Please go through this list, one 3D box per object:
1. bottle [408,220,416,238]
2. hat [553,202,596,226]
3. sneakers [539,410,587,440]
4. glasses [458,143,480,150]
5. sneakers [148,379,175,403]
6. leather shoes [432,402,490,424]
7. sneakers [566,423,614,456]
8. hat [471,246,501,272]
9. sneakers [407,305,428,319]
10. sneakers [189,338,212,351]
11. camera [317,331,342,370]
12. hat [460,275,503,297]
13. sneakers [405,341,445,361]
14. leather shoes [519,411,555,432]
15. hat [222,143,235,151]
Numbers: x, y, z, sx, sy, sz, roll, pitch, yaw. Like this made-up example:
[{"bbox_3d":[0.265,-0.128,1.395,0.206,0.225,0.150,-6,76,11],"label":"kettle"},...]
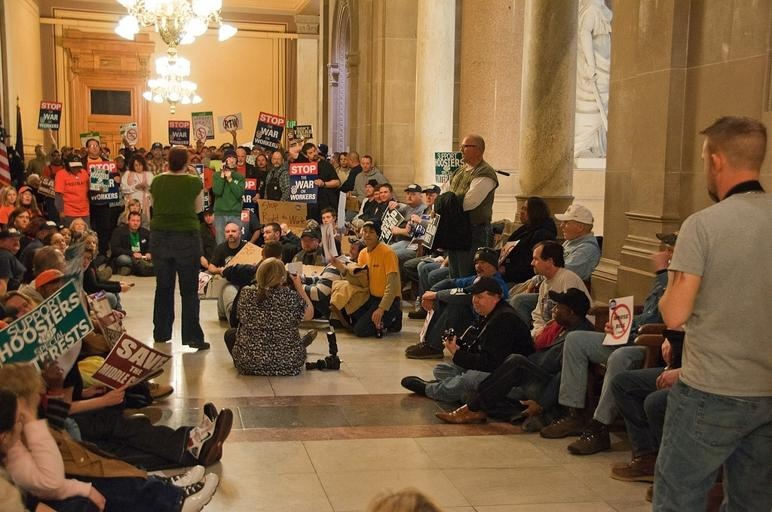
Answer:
[{"bbox_3d":[0.445,-0.469,10.979,0.182,0.216,0.156,-2,3,2],"label":"bottle"},{"bbox_3d":[2.221,-0.495,7.523,0.392,0.215,0.258,3,4,6],"label":"hat"},{"bbox_3d":[1.523,1.502,5.752,0.494,0.239,0.186,-3,2,-3],"label":"sneakers"},{"bbox_3d":[1.053,-1.432,8.339,0.139,0.077,0.337,-3,9,-24],"label":"glasses"},{"bbox_3d":[-2.188,1.366,6.481,0.372,0.165,0.129,-2,0,-11],"label":"sneakers"},{"bbox_3d":[0.713,1.501,6.088,0.534,0.233,0.186,4,-2,-2],"label":"leather shoes"},{"bbox_3d":[1.726,1.559,5.485,0.423,0.289,0.178,0,3,-10],"label":"sneakers"},{"bbox_3d":[1.151,0.032,7.391,0.244,0.226,0.283,-3,-7,44],"label":"hat"},{"bbox_3d":[0.496,0.921,10.187,0.354,0.253,0.127,3,-3,-1],"label":"sneakers"},{"bbox_3d":[-2.382,1.119,8.137,0.314,0.147,0.116,2,6,-25],"label":"sneakers"},{"bbox_3d":[-0.675,1.083,7.715,0.271,0.404,0.651,1,8,-3],"label":"camera"},{"bbox_3d":[0.943,0.290,6.324,0.398,0.213,0.259,0,-2,-4],"label":"hat"},{"bbox_3d":[0.486,1.170,8.016,0.367,0.173,0.228,4,-2,2],"label":"sneakers"},{"bbox_3d":[1.387,1.509,5.886,0.272,0.121,0.152,-7,-9,-26],"label":"leather shoes"},{"bbox_3d":[-4.474,-3.100,18.073,0.384,0.199,0.538,-1,2,-8],"label":"hat"}]
